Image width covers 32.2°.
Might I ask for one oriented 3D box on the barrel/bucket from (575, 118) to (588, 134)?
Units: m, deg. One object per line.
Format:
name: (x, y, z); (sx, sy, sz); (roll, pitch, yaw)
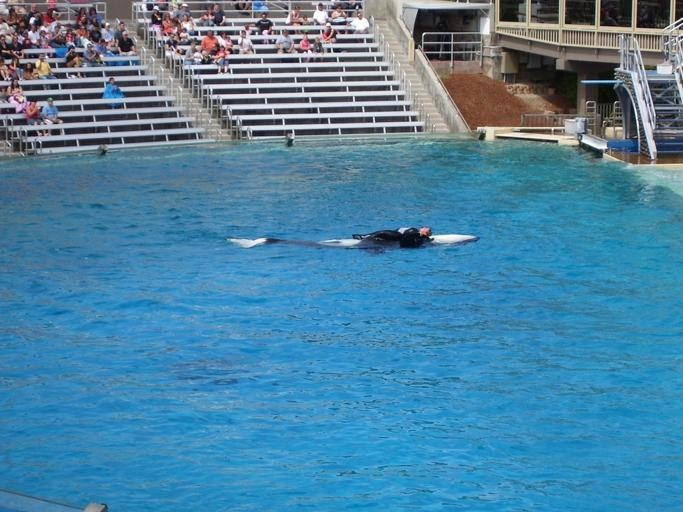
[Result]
barrel/bucket: (7.643, -4.298, 37.603); (0.295, 0.494, 0.592); (-2, 10, 4)

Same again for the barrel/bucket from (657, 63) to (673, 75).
barrel/bucket: (9.606, -5.744, 35.166); (0.594, 0.211, 0.458); (-1, 3, -15)

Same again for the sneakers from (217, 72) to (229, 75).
sneakers: (-4.111, -6.543, 40.998); (0.521, 0.093, 0.164); (-2, -4, -21)
